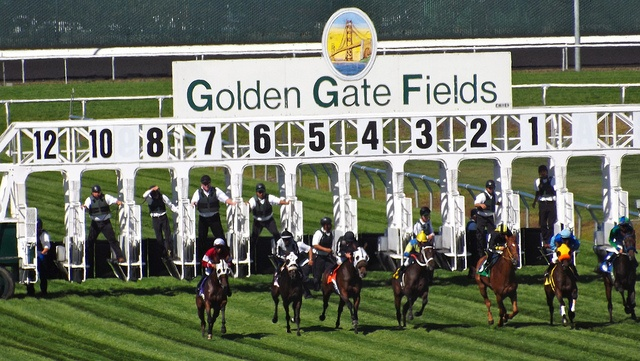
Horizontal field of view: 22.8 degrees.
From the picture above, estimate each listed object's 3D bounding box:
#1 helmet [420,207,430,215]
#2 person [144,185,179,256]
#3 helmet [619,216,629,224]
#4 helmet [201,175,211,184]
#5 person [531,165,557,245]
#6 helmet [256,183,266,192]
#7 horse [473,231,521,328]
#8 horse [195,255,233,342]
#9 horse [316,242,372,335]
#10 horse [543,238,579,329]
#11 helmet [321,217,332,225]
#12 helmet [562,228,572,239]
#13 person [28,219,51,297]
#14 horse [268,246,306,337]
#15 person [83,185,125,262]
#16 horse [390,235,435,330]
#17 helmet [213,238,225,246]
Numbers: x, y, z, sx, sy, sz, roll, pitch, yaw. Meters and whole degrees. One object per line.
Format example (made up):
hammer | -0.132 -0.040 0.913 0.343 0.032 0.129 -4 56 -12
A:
helmet | 3.222 0.992 48.167 0.264 0.268 0.575 2 -3 5
person | -4.881 1.302 48.916 0.990 2.177 1.155 2 -3 -7
helmet | 9.086 1.252 47.383 0.314 0.238 0.459 1 -3 12
helmet | -3.463 0.006 48.680 0.261 0.290 0.373 0 -11 -31
person | 7.041 0.810 49.363 0.725 2.489 1.064 1 -3 8
helmet | -1.798 0.271 48.996 0.242 0.198 0.352 0 -5 -3
horse | 5.406 2.971 47.171 0.641 2.893 1.446 4 -3 -41
horse | -3.123 3.552 46.696 0.964 2.398 1.459 2 -3 -4
horse | 0.716 3.299 47.078 1.252 2.569 1.637 2 -3 -7
horse | 7.191 3.139 47.172 0.909 2.628 1.337 1 -3 9
helmet | 0.214 1.264 47.528 0.283 0.218 0.386 2 -3 -1
helmet | 7.313 1.629 46.786 0.378 0.300 0.257 3 -3 -14
person | -8.365 2.370 48.233 0.430 2.339 0.806 2 -3 -10
horse | -0.938 3.409 46.972 0.909 2.480 1.471 2 -3 -1
person | -6.594 1.376 48.603 1.260 2.363 1.063 2 -3 -1
horse | 2.853 3.030 47.076 1.347 2.868 0.616 0 -3 31
helmet | -2.906 1.855 46.213 0.227 0.207 0.192 -18 -12 30
